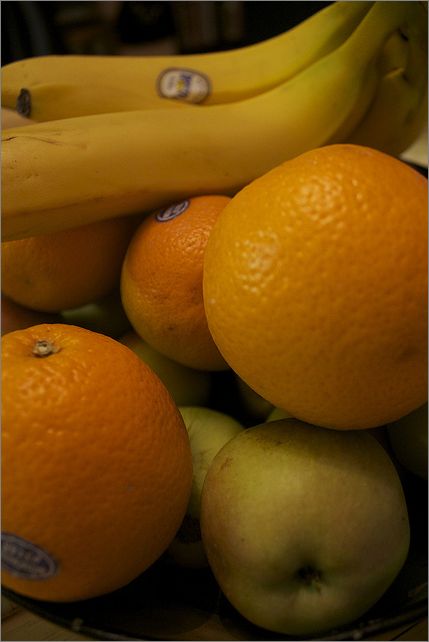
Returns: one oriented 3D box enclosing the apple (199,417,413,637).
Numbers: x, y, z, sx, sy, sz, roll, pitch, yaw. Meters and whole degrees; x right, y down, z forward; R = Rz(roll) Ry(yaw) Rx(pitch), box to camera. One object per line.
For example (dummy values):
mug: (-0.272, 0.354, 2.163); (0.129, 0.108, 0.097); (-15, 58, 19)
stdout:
apple: (0.070, 0.173, 0.552); (0.178, 0.157, 0.162); (9, 49, -3)
